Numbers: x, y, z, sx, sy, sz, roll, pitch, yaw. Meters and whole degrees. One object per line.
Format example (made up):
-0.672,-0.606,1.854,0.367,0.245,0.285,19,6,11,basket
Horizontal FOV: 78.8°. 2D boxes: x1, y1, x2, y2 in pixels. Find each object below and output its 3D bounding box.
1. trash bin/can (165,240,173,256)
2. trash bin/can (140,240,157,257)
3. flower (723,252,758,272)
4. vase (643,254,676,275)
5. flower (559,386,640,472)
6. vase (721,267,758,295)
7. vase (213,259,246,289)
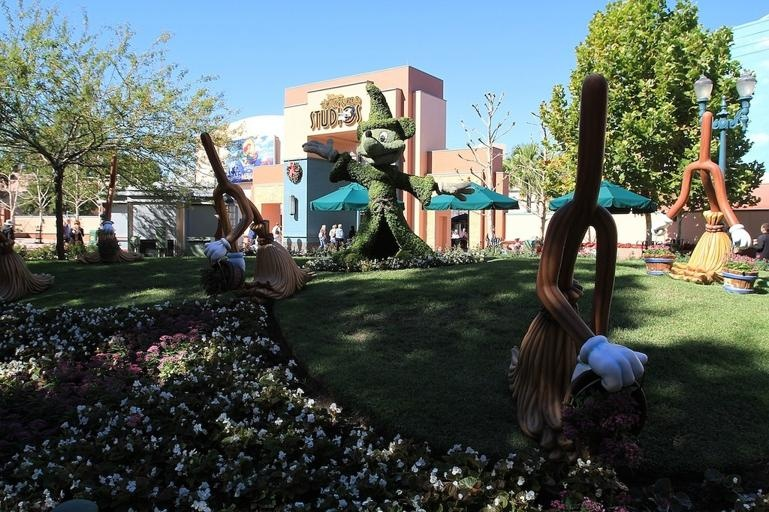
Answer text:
-7.849,-0.321,17.024,0.246,0.548,0.111,-2,6,3,trash bin/can
-8.734,-0.340,17.212,0.718,0.582,0.247,-1,6,12,trash bin/can
6.827,0.121,8.963,0.365,0.185,0.402,0,6,-11,flower
5.754,0.172,9.724,0.466,0.315,0.499,2,-7,0,vase
1.876,1.497,4.120,0.605,0.770,0.445,13,-30,2,flower
6.293,0.431,8.259,0.443,0.347,0.459,1,-1,45,vase
-2.225,0.261,6.732,0.409,0.349,0.369,-5,-4,4,vase
